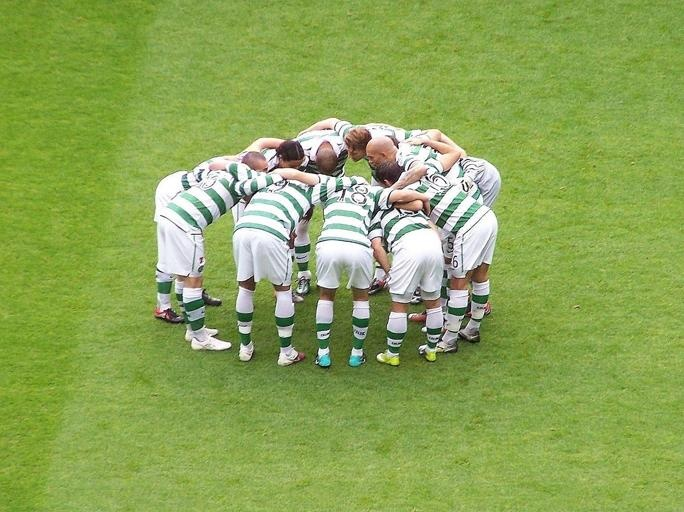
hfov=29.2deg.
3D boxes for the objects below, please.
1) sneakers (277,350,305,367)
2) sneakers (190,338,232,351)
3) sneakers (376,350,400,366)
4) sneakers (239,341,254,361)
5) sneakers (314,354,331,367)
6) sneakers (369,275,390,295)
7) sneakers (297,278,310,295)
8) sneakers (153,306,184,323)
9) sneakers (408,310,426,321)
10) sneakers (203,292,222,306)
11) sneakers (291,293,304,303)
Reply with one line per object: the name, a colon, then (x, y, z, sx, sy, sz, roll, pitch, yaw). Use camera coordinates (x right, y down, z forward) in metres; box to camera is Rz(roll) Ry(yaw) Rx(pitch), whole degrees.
sneakers: (-0.593, 1.209, 15.717, 0.355, 0.132, 0.144, -14, 25, -40)
sneakers: (-1.567, 1.070, 15.865, 0.502, 0.169, 0.166, 0, 28, -5)
sneakers: (0.578, 1.212, 15.673, 0.302, 0.122, 0.136, 13, 29, 33)
sneakers: (-1.128, 1.139, 15.741, 0.136, 0.103, 0.249, 4, 31, 3)
sneakers: (-0.208, 1.246, 15.671, 0.129, 0.075, 0.195, -5, 11, -18)
sneakers: (0.521, 0.374, 16.697, 0.132, 0.130, 0.362, 13, 23, 39)
sneakers: (-0.469, 0.383, 16.666, 0.117, 0.101, 0.248, 1, 28, 2)
sneakers: (-2.121, 0.722, 16.288, 0.408, 0.159, 0.150, 10, 18, 2)
sneakers: (0.951, 0.743, 16.351, 0.265, 0.093, 0.093, 7, 17, 31)
sneakers: (-1.567, 0.546, 16.528, 0.336, 0.126, 0.108, 11, 24, 19)
sneakers: (-0.543, 0.522, 16.599, 0.091, 0.066, 0.170, -12, 18, -30)
